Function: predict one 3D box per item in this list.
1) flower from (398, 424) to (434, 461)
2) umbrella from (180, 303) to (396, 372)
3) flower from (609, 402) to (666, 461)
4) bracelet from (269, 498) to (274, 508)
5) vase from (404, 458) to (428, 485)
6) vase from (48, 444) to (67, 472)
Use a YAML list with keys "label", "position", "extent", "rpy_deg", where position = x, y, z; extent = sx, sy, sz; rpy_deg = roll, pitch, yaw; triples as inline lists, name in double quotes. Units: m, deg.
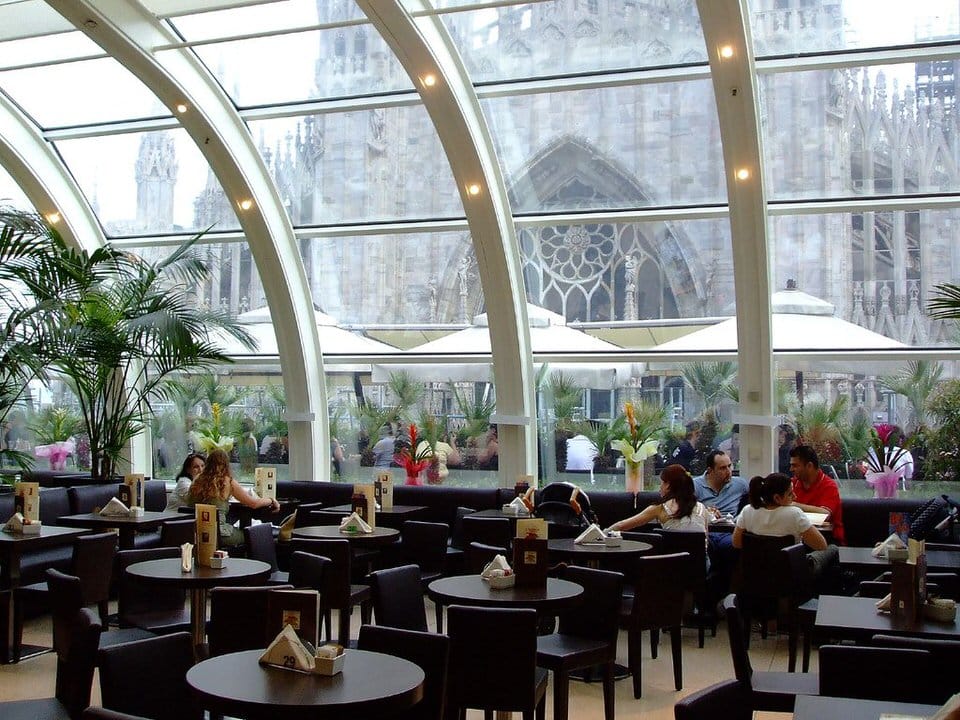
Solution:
- label: "flower"
  position: [-0.776, 0.986, 10.685]
  extent: [0.458, 0.448, 0.094]
  rpy_deg: [-3, -2, 30]
- label: "umbrella"
  position: [-2.154, -0.254, 11.049]
  extent: [2.542, 0.847, 0.351]
  rpy_deg: [-3, -2, 24]
- label: "flower"
  position: [1.742, 0.814, 9.898]
  extent: [0.530, 0.610, 0.596]
  rpy_deg: [3, -4, -34]
- label: "bracelet"
  position: [-2.037, 1.429, 8.871]
  extent: [0.059, 0.082, 0.076]
  rpy_deg: [-9, 1, -24]
- label: "vase"
  position: [-0.753, 1.340, 10.660]
  extent: [0.255, 0.299, 0.271]
  rpy_deg: [-2, -7, 1]
- label: "vase"
  position: [-5.741, 1.353, 12.254]
  extent: [0.302, 0.333, 0.301]
  rpy_deg: [-1, 0, -31]
